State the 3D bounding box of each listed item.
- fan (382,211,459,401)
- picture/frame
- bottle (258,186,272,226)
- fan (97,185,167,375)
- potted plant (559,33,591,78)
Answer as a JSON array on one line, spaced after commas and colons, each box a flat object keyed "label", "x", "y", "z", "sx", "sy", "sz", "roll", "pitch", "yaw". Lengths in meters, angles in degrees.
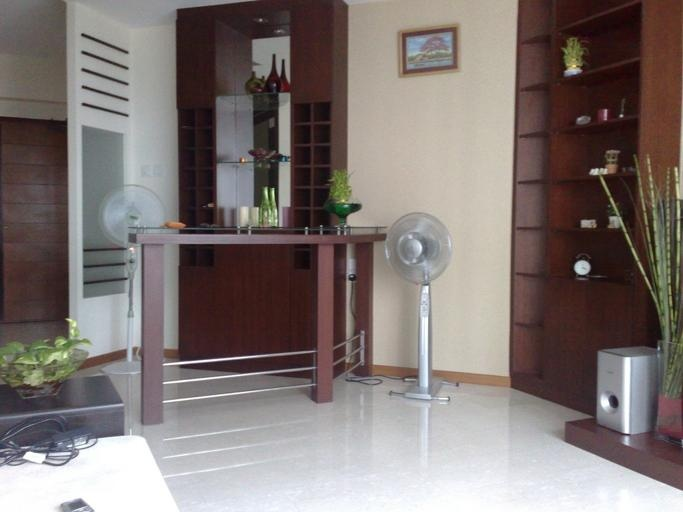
[{"label": "fan", "x": 0.636, "y": 0.403, "z": 4.681, "sx": 0.525, "sy": 1.521, "sz": 0.384, "roll": 2, "pitch": 8, "yaw": 10}, {"label": "picture/frame", "x": 0.799, "y": -1.828, "z": 5.089, "sx": 0.571, "sy": 0.388, "sz": 0.029, "roll": 2, "pitch": 8, "yaw": 21}, {"label": "bottle", "x": -0.686, "y": -0.463, "z": 5.296, "sx": 0.113, "sy": 0.352, "sz": 0.336, "roll": -1, "pitch": 8, "yaw": -8}, {"label": "fan", "x": -1.897, "y": 0.236, "z": 5.231, "sx": 0.502, "sy": 1.747, "sz": 0.985, "roll": -6, "pitch": 10, "yaw": -37}, {"label": "potted plant", "x": 1.807, "y": -1.520, "z": 4.454, "sx": 0.157, "sy": 0.244, "sz": 0.153, "roll": 6, "pitch": 11, "yaw": 9}]
